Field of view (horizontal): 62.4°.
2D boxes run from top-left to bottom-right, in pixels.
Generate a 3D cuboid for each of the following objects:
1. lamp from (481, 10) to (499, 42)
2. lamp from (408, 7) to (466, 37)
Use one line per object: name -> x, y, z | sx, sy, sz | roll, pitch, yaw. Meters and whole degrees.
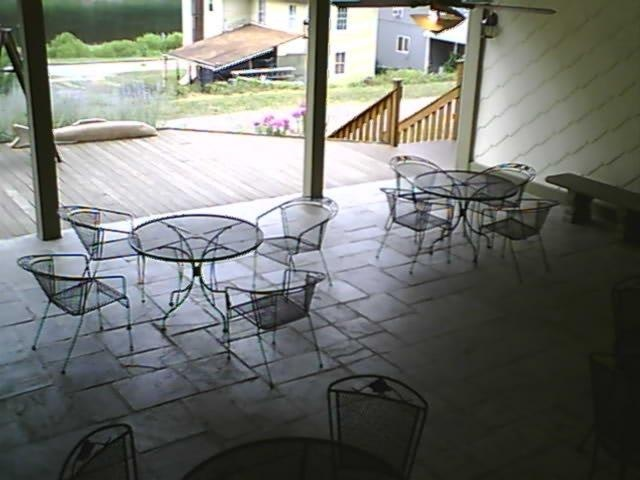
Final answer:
lamp -> 2.597, -3.297, 8.099 | 0.276, 0.234, 0.601 | 22, 39, 3
lamp -> 1.195, -2.215, 5.345 | 0.519, 0.236, 0.806 | 3, 21, 4
